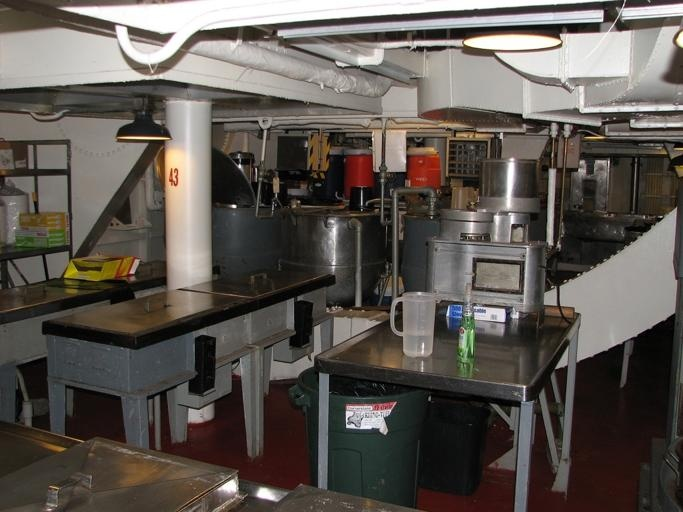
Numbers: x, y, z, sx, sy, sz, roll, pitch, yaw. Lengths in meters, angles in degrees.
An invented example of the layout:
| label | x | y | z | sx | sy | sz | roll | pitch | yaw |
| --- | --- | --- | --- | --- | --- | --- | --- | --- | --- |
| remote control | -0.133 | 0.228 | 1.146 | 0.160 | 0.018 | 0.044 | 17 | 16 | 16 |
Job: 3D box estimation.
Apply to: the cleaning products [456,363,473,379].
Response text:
| label | x | y | z | sx | sy | sz | roll | pitch | yaw |
| --- | --- | --- | --- | --- | --- | --- | --- | --- | --- |
| cleaning products | 0.529 | 0.497 | 2.433 | 0.049 | 0.068 | 0.047 | 2 | 9 | 17 |

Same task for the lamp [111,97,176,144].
| label | x | y | z | sx | sy | sz | roll | pitch | yaw |
| --- | --- | --- | --- | --- | --- | --- | --- | --- | --- |
| lamp | -1.341 | -0.880 | 3.859 | 0.355 | 0.248 | 0.363 | 3 | 4 | 32 |

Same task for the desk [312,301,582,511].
| label | x | y | z | sx | sy | sz | roll | pitch | yaw |
| --- | --- | --- | --- | --- | --- | --- | --- | --- | --- |
| desk | 0.577 | 0.694 | 2.914 | 1.132 | 0.666 | 1.166 | 4 | 8 | 19 |

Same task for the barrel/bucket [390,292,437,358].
| label | x | y | z | sx | sy | sz | roll | pitch | yaw |
| --- | --- | --- | --- | --- | --- | --- | --- | --- | --- |
| barrel/bucket | 0.392 | 0.318 | 2.768 | 0.328 | 0.330 | 0.214 | 1 | 2 | 20 |

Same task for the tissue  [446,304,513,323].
| label | x | y | z | sx | sy | sz | roll | pitch | yaw |
| --- | --- | --- | --- | --- | --- | --- | --- | --- | --- |
| tissue  | 0.788 | 0.331 | 3.221 | 0.215 | 0.052 | 0.157 | 5 | 7 | 34 |

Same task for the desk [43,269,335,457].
| label | x | y | z | sx | sy | sz | roll | pitch | yaw |
| --- | --- | --- | --- | --- | --- | --- | --- | --- | --- |
| desk | -0.885 | 0.769 | 3.925 | 0.840 | 1.029 | 2.090 | 4 | 7 | 27 |

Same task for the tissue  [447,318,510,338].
| label | x | y | z | sx | sy | sz | roll | pitch | yaw |
| --- | --- | --- | --- | --- | --- | --- | --- | --- | --- |
| tissue  | 0.723 | 0.378 | 2.936 | 0.205 | 0.043 | 0.145 | -3 | 5 | -40 |
